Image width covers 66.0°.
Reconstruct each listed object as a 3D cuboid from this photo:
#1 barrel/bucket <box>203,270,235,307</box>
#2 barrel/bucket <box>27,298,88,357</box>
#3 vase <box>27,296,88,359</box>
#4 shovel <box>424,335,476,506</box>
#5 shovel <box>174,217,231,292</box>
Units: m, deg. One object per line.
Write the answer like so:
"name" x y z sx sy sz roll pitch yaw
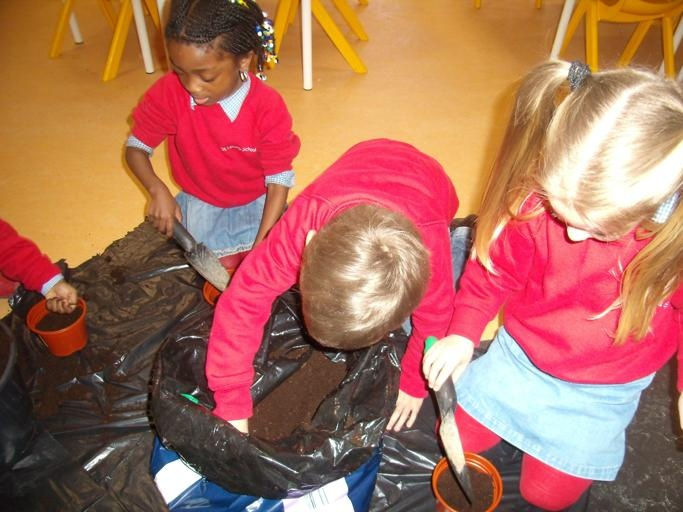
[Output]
"barrel/bucket" -0.451 0.133 1.996 0.109 0.132 0.129 -11 21 -20
"barrel/bucket" -0.985 0.241 1.844 0.188 0.139 0.189 -2 40 2
"vase" -0.965 0.250 1.872 0.202 0.162 0.206 -9 6 -8
"shovel" 0.295 0.461 1.476 0.079 0.059 0.417 -10 79 -38
"shovel" -0.528 -0.007 1.999 0.069 0.045 0.308 -31 78 -20
